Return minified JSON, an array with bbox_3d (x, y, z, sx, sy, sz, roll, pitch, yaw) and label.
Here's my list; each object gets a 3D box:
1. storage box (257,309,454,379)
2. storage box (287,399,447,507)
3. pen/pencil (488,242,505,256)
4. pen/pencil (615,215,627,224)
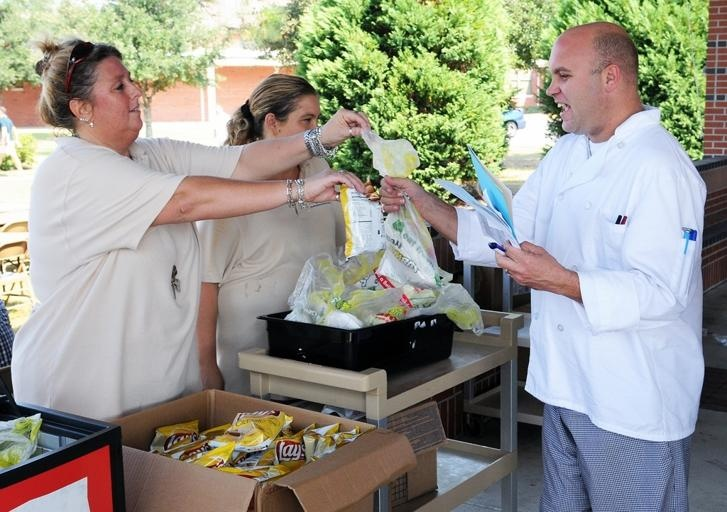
[{"bbox_3d":[0.045,0.303,2.047,0.320,0.126,0.410,0,1,41],"label":"storage box"},{"bbox_3d":[0.028,0.658,2.203,0.455,0.265,0.445,-8,9,-43],"label":"storage box"},{"bbox_3d":[0.451,-0.024,1.912,0.064,0.025,0.025,27,44,-3],"label":"pen/pencil"},{"bbox_3d":[0.859,-0.121,1.923,0.030,0.026,0.007,13,4,27],"label":"pen/pencil"}]
